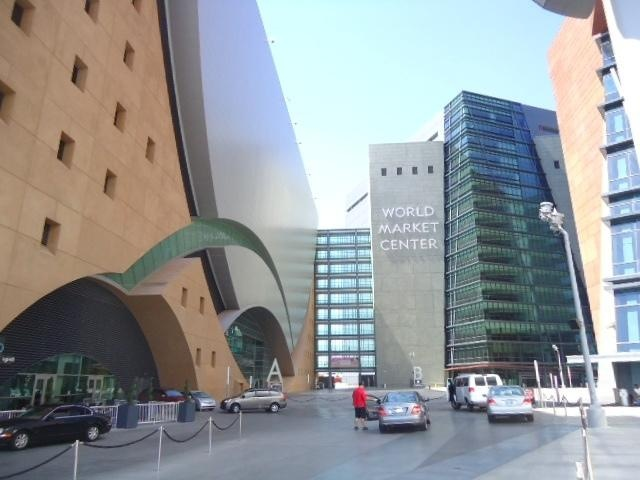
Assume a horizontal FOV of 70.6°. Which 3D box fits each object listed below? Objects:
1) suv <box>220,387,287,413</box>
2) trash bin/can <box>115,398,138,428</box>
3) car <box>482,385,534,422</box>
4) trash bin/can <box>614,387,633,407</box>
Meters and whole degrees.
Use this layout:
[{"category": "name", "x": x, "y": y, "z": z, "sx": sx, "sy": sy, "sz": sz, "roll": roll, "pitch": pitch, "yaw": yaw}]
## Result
[{"category": "suv", "x": -4.798, "y": 11.711, "z": 32.969, "sx": 1.348, "sy": 1.745, "sz": 4.885, "roll": -18, "pitch": -21, "yaw": 37}, {"category": "trash bin/can", "x": -9.505, "y": 8.601, "z": 22.230, "sx": 0.921, "sy": 1.131, "sz": 0.725, "roll": 4, "pitch": -19, "yaw": -29}, {"category": "car", "x": 9.074, "y": 7.789, "z": 21.725, "sx": 1.237, "sy": 0.978, "sz": 2.967, "roll": -2, "pitch": -14, "yaw": 13}, {"category": "trash bin/can", "x": 23.626, "y": 12.128, "z": 35.132, "sx": 1.146, "sy": 1.351, "sz": 1.173, "roll": 2, "pitch": -23, "yaw": -8}]
